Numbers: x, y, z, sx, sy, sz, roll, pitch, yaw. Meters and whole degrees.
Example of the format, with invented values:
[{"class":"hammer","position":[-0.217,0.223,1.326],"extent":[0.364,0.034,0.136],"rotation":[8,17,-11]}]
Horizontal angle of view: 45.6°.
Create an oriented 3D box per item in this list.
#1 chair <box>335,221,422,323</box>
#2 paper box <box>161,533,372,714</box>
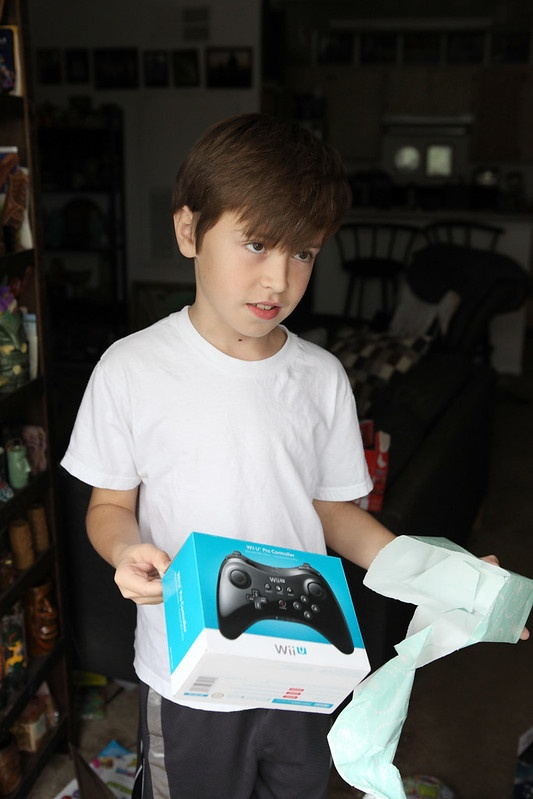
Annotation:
[{"class":"chair","position":[0.226,-0.310,1.557],"extent":[0.211,0.240,0.175],"rotation":[5,25,1]},{"class":"paper box","position":[-0.046,0.212,0.605],"extent":[0.235,0.114,0.161],"rotation":[7,52,-39]}]
